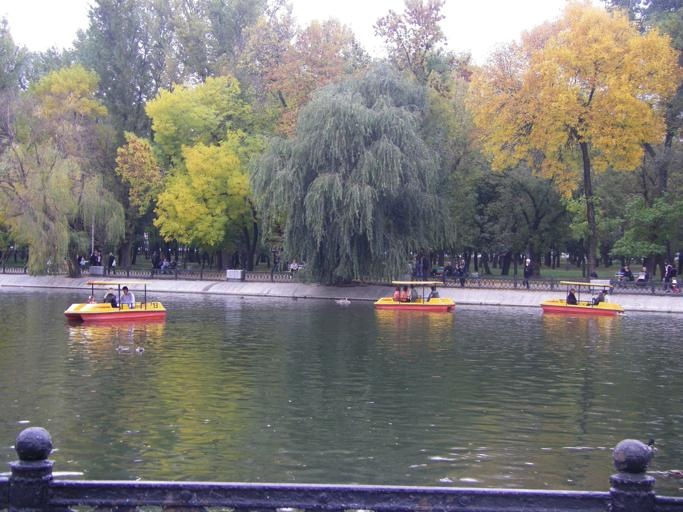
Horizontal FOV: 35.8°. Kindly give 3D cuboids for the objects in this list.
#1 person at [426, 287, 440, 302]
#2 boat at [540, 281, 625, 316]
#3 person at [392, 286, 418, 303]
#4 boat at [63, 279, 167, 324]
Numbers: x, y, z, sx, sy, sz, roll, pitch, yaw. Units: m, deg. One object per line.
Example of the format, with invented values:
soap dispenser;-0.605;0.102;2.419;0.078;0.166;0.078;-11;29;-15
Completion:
person;5.945;2.336;68.744;0.699;1.315;0.937;1;2;9
boat;15.620;2.878;68.199;5.436;2.547;2.332;-1;3;8
person;4.202;2.402;69.655;1.686;0.996;1.193;5;-11;-3
boat;-12.924;2.516;60.396;5.221;2.410;1.905;1;-4;-20
